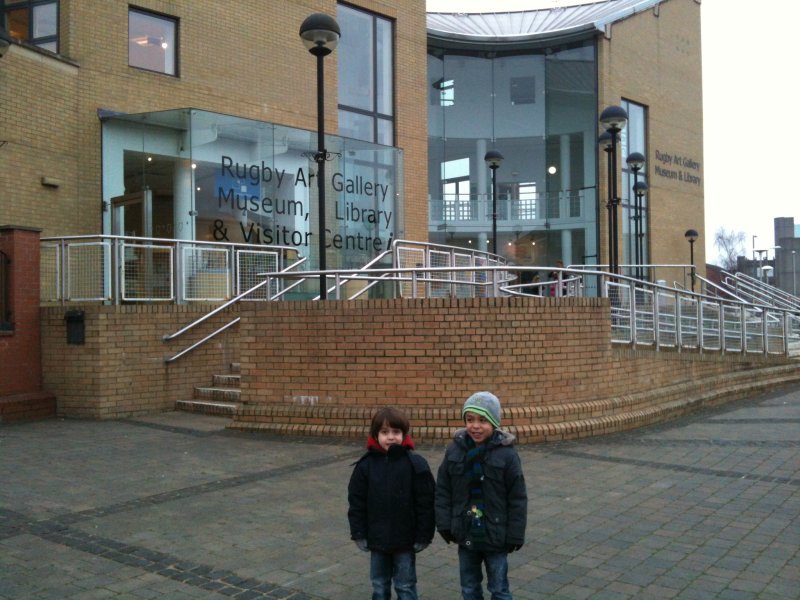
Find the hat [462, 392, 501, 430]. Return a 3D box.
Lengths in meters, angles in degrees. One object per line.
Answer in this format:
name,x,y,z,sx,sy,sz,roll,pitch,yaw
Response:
hat,0.731,0.955,7.444,0.313,0.350,0.398,5,1,26

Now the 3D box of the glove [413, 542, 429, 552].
glove,0.183,2.164,7.486,0.115,0.124,0.073,0,0,11
